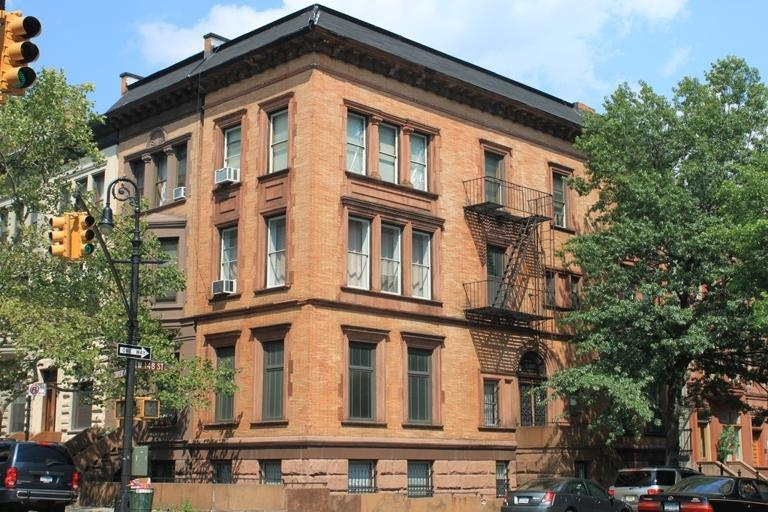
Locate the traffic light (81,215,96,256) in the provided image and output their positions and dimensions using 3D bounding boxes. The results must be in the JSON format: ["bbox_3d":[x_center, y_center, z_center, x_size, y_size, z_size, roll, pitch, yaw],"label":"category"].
[{"bbox_3d":[-10.551,-0.701,42.568,0.481,1.589,0.428,2,-2,-41],"label":"traffic light"}]

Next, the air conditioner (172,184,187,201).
[{"bbox_3d":[-10.157,-3.061,59.006,0.704,0.624,0.252,-17,-25,41],"label":"air conditioner"}]

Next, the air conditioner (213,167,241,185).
[{"bbox_3d":[-7.524,-3.771,56.850,0.890,0.617,0.875,10,-17,-44],"label":"air conditioner"}]

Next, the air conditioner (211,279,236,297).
[{"bbox_3d":[-7.573,1.531,55.725,1.157,0.675,0.770,0,-9,22],"label":"air conditioner"}]

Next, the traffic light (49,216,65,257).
[{"bbox_3d":[-11.421,-0.670,41.902,0.395,0.984,0.309,3,-1,-23],"label":"traffic light"}]
